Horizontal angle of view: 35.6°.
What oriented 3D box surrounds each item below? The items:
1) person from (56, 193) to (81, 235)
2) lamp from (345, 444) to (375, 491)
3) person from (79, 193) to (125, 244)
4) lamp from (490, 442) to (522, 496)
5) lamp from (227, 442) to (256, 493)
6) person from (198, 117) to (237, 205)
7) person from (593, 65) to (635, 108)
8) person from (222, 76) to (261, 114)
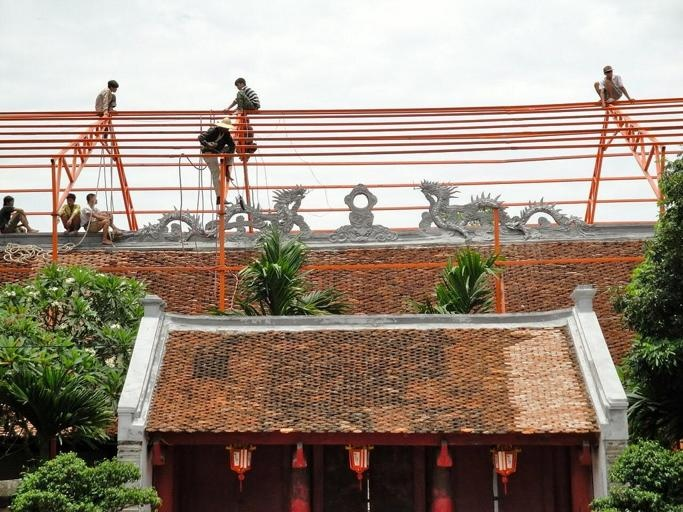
[{"bbox_3d":[-5.556,-0.906,21.631,0.422,0.828,1.521,-1,-3,-14],"label":"person"},{"bbox_3d":[0.242,3.137,16.584,0.427,0.679,0.416,-11,-17,25],"label":"lamp"},{"bbox_3d":[-5.018,-0.768,21.850,0.928,1.089,0.510,-4,-4,43],"label":"person"},{"bbox_3d":[2.609,3.389,16.850,0.448,0.906,0.947,-2,-3,8],"label":"lamp"},{"bbox_3d":[-1.613,3.363,16.918,0.426,0.882,1.042,-1,-3,-5],"label":"lamp"},{"bbox_3d":[-2.522,-1.923,21.226,0.735,1.853,1.337,-1,-3,-6],"label":"person"},{"bbox_3d":[5.995,-3.806,23.831,0.786,0.758,0.546,-10,1,-3],"label":"person"},{"bbox_3d":[-2.164,-3.509,23.188,0.487,0.797,0.649,1,-4,-38],"label":"person"}]
